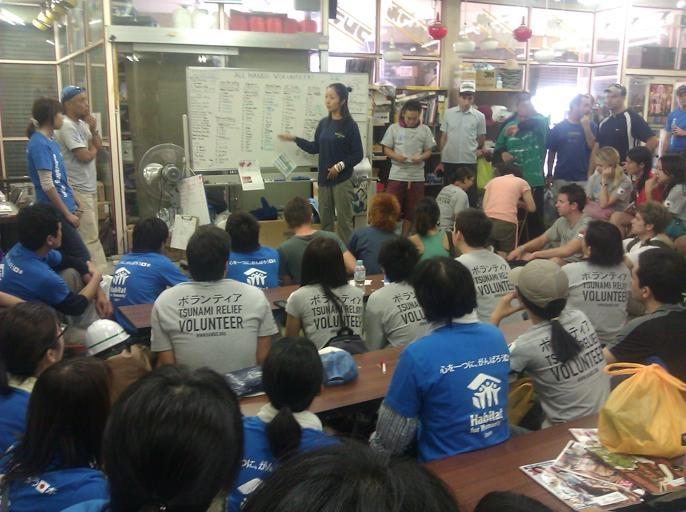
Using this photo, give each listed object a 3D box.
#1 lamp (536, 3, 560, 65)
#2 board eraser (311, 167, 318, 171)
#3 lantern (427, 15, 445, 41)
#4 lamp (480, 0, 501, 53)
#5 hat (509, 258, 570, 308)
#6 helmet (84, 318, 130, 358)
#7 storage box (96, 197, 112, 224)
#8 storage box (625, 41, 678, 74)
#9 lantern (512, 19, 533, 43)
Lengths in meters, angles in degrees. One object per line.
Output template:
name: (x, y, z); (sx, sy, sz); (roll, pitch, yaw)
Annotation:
lamp: (3.644, -4.056, 10.272); (0.484, 1.052, 1.663); (5, 15, 18)
board eraser: (-0.364, -1.084, 7.030); (0.060, 0.056, 0.015); (-2, 27, -9)
lantern: (1.566, -3.819, 9.353); (0.246, 0.436, 0.901); (3, 15, 10)
lamp: (2.603, -4.001, 9.917); (0.285, 0.769, 1.353); (4, 15, 14)
hat: (0.882, 0.113, 2.590); (0.167, 0.126, 0.245); (-10, 29, -4)
helmet: (-1.408, 0.485, 3.411); (0.182, 0.125, 0.223); (-12, 16, 21)
storage box: (-2.963, -0.570, 7.000); (0.237, 0.315, 0.315); (-3, 6, -38)
storage box: (5.417, -3.549, 10.025); (0.543, 0.468, 0.762); (-7, 16, -28)
lantern: (3.057, -3.880, 9.590); (0.249, 0.373, 0.345); (9, 17, 29)
